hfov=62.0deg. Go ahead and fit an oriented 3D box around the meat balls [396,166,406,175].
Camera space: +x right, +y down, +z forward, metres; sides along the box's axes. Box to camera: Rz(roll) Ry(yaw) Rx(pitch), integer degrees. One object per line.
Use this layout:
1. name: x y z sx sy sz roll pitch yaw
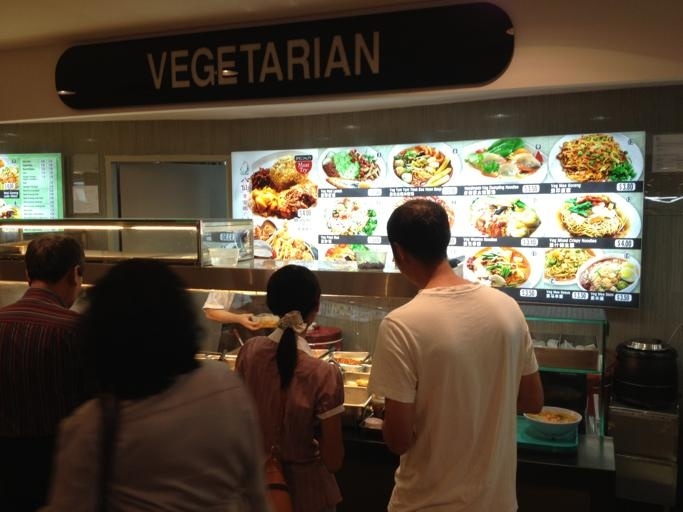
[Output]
1. meat balls: 0.483 -0.685 4.603 0.065 0.071 0.036 7 9 14
